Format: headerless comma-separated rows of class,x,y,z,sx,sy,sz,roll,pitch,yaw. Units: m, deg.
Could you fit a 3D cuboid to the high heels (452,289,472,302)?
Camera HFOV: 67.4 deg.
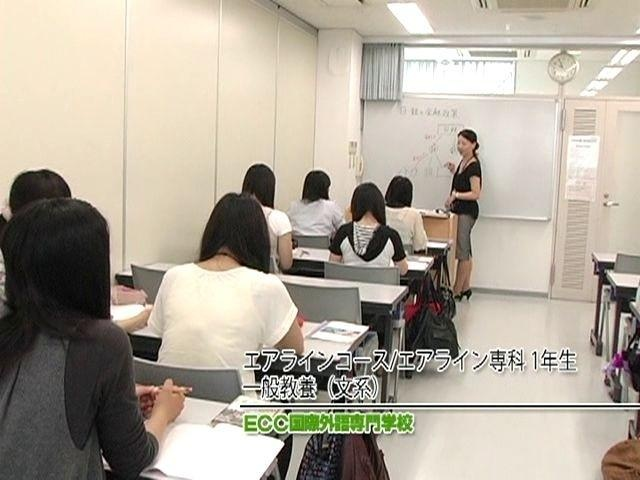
high heels,1.809,0.697,6.277,0.107,0.162,0.334,1,7,-28

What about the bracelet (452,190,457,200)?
bracelet,1.719,-0.583,6.119,0.055,0.088,0.025,-6,-14,29

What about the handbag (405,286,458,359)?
handbag,0.841,0.637,3.702,0.389,0.512,0.265,16,-32,-25

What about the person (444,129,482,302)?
person,1.838,-0.319,6.217,0.413,2.163,0.566,3,8,17

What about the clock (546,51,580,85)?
clock,2.954,-2.089,5.844,0.285,0.435,0.318,-1,16,1
